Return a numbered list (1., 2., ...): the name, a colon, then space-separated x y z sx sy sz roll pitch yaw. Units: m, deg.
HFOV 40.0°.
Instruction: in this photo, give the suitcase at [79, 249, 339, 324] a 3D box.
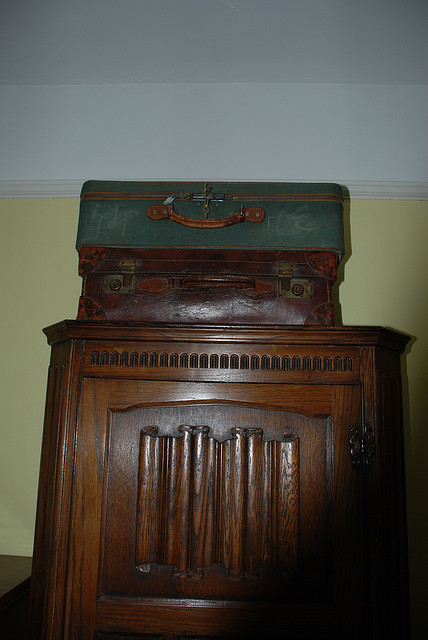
1. suitcase: -0.017 -0.087 1.435 0.639 0.190 0.059 1 -10 1
